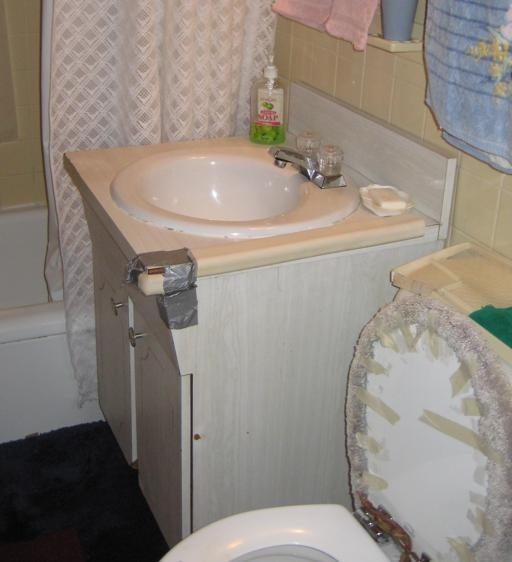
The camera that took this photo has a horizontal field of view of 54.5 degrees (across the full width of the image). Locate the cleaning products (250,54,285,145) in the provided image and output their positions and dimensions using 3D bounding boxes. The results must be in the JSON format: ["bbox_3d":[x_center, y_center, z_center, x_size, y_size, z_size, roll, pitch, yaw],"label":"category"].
[{"bbox_3d":[0.029,-0.436,1.278,0.086,0.162,0.061,-2,25,-2],"label":"cleaning products"}]

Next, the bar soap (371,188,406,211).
[{"bbox_3d":[0.256,-0.160,0.964,0.066,0.016,0.106,5,29,9],"label":"bar soap"}]

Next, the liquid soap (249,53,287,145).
[{"bbox_3d":[0.031,-0.462,1.282,0.082,0.205,0.067,-2,24,-10],"label":"liquid soap"}]

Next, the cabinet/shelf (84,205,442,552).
[{"bbox_3d":[-0.091,0.196,1.465,0.647,0.986,0.930,-7,29,-20],"label":"cabinet/shelf"}]
